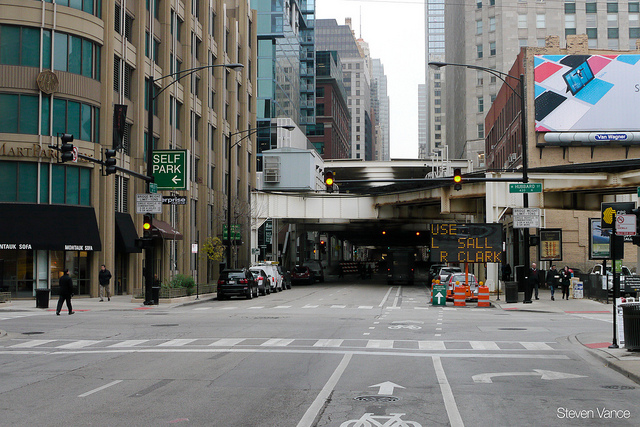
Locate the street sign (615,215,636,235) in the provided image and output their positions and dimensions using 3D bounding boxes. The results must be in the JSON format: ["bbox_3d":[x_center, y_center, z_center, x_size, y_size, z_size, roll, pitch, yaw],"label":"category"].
[{"bbox_3d":[10.226,0.385,25.055,0.599,0.663,0.068,1,-1,17],"label":"street sign"}]

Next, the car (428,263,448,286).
[{"bbox_3d":[11.160,5.931,73.277,1.336,1.250,2.836,1,2,5],"label":"car"}]

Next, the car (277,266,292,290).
[{"bbox_3d":[-3.248,5.710,65.760,1.106,1.097,2.243,0,1,12],"label":"car"}]

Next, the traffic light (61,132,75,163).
[{"bbox_3d":[-11.010,-2.990,32.472,0.537,1.424,2.102,0,-7,-19],"label":"traffic light"}]

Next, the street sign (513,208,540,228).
[{"bbox_3d":[11.659,0.223,42.341,1.053,0.823,0.144,1,4,3],"label":"street sign"}]

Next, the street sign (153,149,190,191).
[{"bbox_3d":[-8.739,-2.555,43.197,2.597,2.665,0.942,-1,-6,4],"label":"street sign"}]

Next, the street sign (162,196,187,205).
[{"bbox_3d":[-8.043,-0.793,41.081,1.174,0.594,1.393,-2,-7,-4],"label":"street sign"}]

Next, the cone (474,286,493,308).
[{"bbox_3d":[9.132,4.692,42.125,1.008,1.161,1.006,-2,-3,10],"label":"cone"}]

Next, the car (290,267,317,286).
[{"bbox_3d":[-1.839,6.252,74.320,1.805,1.554,4.128,0,0,7],"label":"car"}]

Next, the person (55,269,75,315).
[{"bbox_3d":[-12.334,3.873,35.991,0.796,1.964,1.194,0,-7,-19],"label":"person"}]

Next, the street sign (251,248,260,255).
[{"bbox_3d":[-5.730,3.295,65.743,0.614,0.454,0.620,0,0,6],"label":"street sign"}]

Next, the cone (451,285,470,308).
[{"bbox_3d":[7.736,4.604,41.825,0.596,1.161,0.566,-4,-6,19],"label":"cone"}]
